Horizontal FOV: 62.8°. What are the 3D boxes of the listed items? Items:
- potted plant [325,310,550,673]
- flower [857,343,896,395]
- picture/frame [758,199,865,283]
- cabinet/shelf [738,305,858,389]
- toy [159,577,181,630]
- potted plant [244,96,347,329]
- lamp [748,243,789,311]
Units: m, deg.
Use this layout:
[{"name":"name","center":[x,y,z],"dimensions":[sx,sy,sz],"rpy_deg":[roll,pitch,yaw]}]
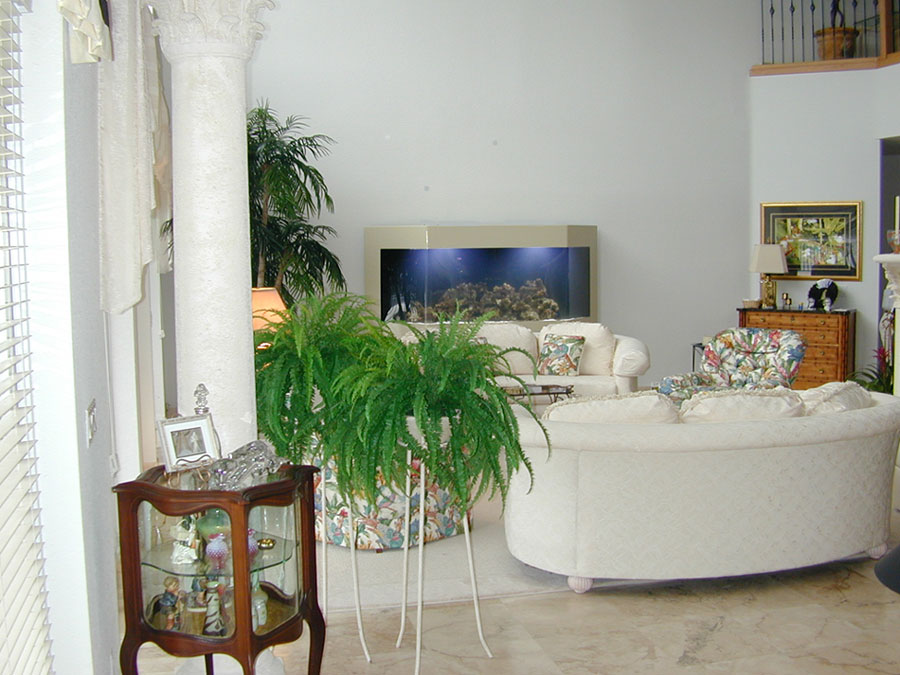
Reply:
[{"name":"potted plant","center":[-0.058,0.633,3.540],"dimensions":[1.059,1.639,1.667],"rpy_deg":[-1,9,-1]},{"name":"flower","center":[4.517,0.319,7.764],"dimensions":[0.470,0.445,0.492],"rpy_deg":[0,1,32]},{"name":"picture/frame","center":[4.358,-1.145,8.757],"dimensions":[0.956,0.862,0.068],"rpy_deg":[2,3,32]},{"name":"cabinet/shelf","center":[3.631,0.111,7.546],"dimensions":[0.904,1.067,0.415],"rpy_deg":[0,0,30]},{"name":"toy","center":[-0.936,0.878,2.446],"dimensions":[0.080,0.173,0.033],"rpy_deg":[3,9,23]},{"name":"potted plant","center":[-1.539,-1.473,7.470],"dimensions":[0.936,2.158,2.987],"rpy_deg":[-2,9,-10]},{"name":"lamp","center":[3.809,-0.707,8.770],"dimensions":[0.417,0.773,0.390],"rpy_deg":[0,0,-30]}]
